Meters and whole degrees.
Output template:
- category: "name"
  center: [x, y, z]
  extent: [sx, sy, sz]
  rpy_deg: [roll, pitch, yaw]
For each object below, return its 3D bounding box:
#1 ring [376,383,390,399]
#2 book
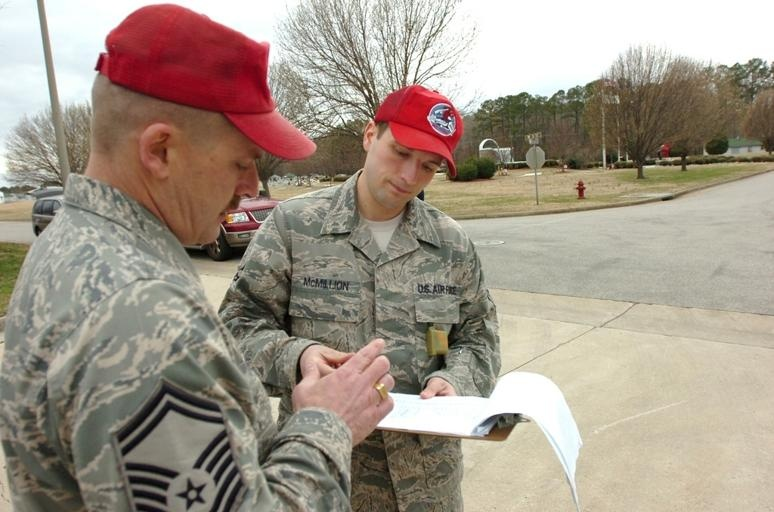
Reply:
- category: "ring"
  center: [-0.016, 0.442, 1.836]
  extent: [0.020, 0.049, 0.050]
  rpy_deg: [-26, 4, -13]
- category: "book"
  center: [0.360, 0.590, 2.099]
  extent: [0.668, 0.300, 0.537]
  rpy_deg: [0, 9, 12]
